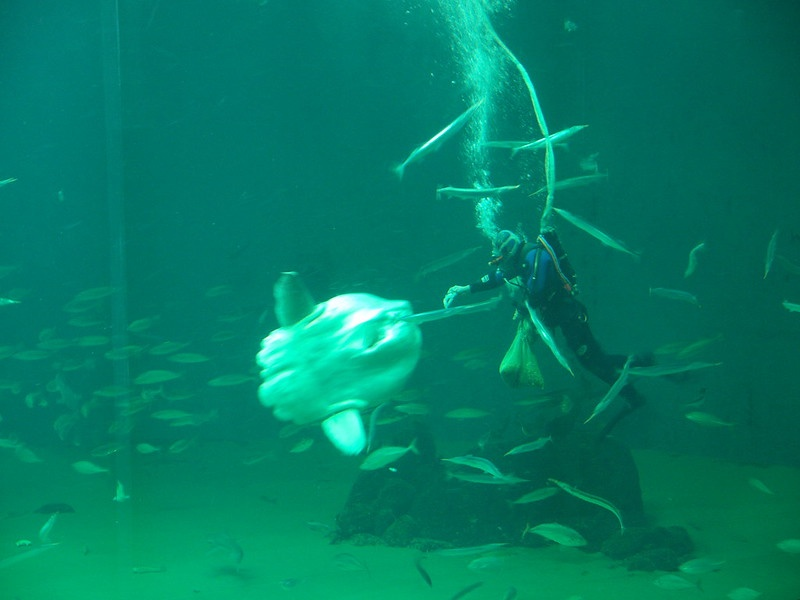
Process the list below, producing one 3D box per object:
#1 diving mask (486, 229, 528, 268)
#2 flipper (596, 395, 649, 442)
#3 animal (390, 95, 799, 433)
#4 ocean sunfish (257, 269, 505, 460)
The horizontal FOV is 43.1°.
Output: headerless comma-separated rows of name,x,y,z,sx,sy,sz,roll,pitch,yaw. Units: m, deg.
diving mask,0.736,-0.361,7.052,0.285,0.254,0.208,1,5,14
flipper,1.532,0.840,7.073,0.403,0.094,0.077,-43,-15,1
animal,1.408,-0.186,8.710,2.492,3.209,1.733,-17,3,1
ocean sunfish,-0.114,0.274,7.319,2.009,1.570,0.395,-30,-52,9
